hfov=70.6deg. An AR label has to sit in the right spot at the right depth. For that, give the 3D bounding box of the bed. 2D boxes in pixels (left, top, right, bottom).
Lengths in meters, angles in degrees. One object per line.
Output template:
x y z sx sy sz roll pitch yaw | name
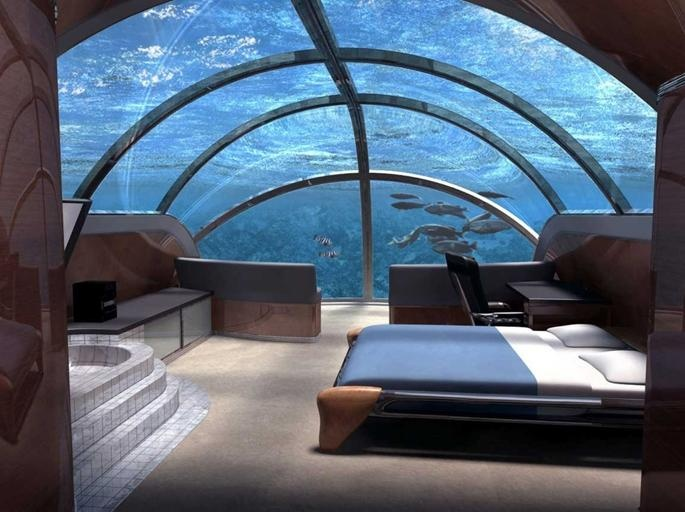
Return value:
1.061 1.078 3.969 1.995 0.353 1.316 0 4 7 | bed

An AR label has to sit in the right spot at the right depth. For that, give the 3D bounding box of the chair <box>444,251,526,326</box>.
1.656 0.436 5.770 0.812 0.942 0.644 -1 6 -5 | chair

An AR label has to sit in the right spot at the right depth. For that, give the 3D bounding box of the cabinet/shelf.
-2.572 0.980 6.332 0.791 0.675 2.371 1 5 7 | cabinet/shelf
